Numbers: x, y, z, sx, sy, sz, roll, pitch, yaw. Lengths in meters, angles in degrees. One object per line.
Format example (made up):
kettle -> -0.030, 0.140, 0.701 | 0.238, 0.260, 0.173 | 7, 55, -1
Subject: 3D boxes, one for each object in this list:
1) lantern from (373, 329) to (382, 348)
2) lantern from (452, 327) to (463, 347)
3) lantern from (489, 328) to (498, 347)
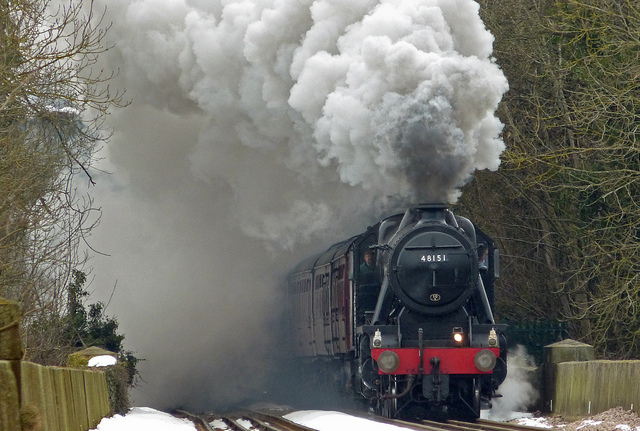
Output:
lantern -> 1.342, 2.917, 22.805 | 0.172, 0.297, 0.385 | -6, 25, 14
lantern -> 3.247, 2.862, 22.779 | 0.264, 0.381, 0.374 | -8, 24, 10
lantern -> 4.058, 2.870, 22.605 | 0.184, 0.307, 0.284 | -6, 24, 14
